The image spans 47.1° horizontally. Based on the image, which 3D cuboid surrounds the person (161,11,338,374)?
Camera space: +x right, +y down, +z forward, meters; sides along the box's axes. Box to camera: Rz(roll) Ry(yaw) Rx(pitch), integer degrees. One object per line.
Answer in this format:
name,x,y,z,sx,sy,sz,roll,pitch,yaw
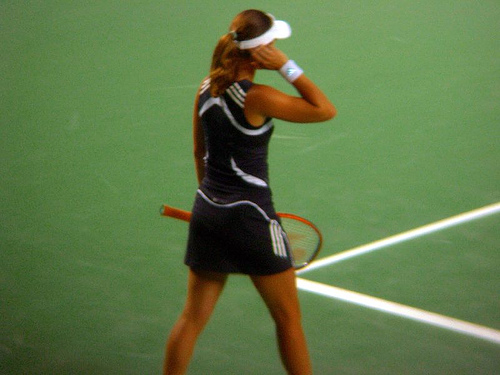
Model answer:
person,-0.028,0.056,3.128,0.803,2.006,0.396,4,9,21
